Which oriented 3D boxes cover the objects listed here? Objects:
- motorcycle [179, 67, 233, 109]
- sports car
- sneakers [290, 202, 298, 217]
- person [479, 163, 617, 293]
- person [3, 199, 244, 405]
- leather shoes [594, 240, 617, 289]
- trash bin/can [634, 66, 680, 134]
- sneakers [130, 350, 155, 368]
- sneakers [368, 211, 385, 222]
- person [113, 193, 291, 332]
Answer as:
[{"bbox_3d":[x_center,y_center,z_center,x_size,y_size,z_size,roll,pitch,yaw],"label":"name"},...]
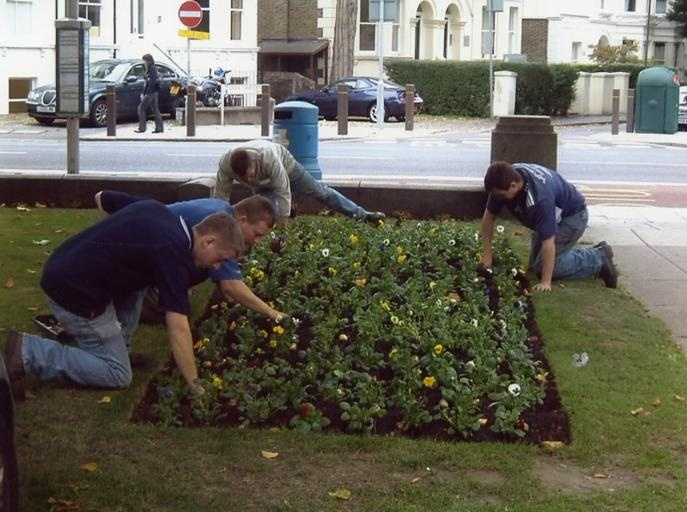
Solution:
[{"bbox_3d":[-4.484,-5.760,25.268,1.061,1.317,1.810,4,10,17],"label":"motorcycle"},{"bbox_3d":[0.611,-5.481,25.869,4.069,1.598,2.203,1,10,-2],"label":"sports car"},{"bbox_3d":[-0.598,-0.567,9.194,0.081,0.121,0.161,-2,13,6],"label":"sneakers"},{"bbox_3d":[1.914,-0.301,7.039,1.397,1.171,0.725,-3,10,-25],"label":"person"},{"bbox_3d":[-1.473,0.157,5.037,1.439,1.302,1.184,1,29,-23],"label":"person"},{"bbox_3d":[2.522,0.044,7.159,0.185,0.506,0.159,-13,1,1],"label":"leather shoes"},{"bbox_3d":[9.439,-4.668,22.228,1.215,1.971,0.776,5,10,23],"label":"trash bin/can"},{"bbox_3d":[-1.474,0.770,5.459,0.106,0.061,0.144,7,7,29],"label":"sneakers"},{"bbox_3d":[0.385,-0.456,8.527,0.106,0.074,0.145,13,-20,-29],"label":"sneakers"},{"bbox_3d":[-0.956,0.129,5.199,1.082,0.343,1.000,40,27,30],"label":"person"}]
